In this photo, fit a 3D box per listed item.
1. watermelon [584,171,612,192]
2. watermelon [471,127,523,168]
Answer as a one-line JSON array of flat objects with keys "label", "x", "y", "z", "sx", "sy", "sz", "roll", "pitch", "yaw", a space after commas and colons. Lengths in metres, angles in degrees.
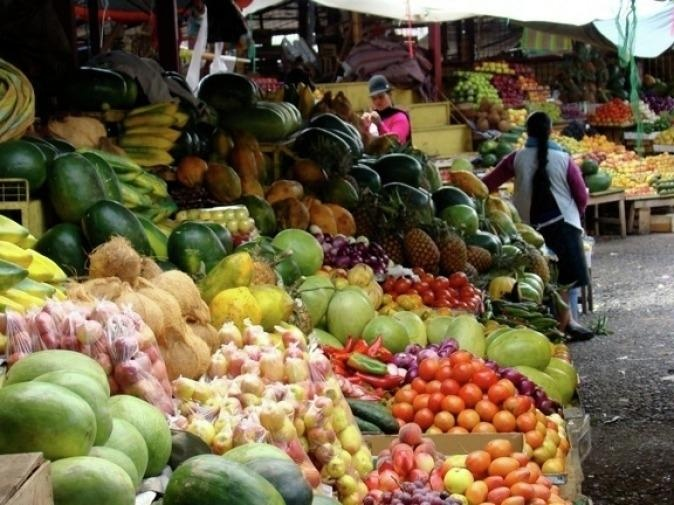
[{"label": "watermelon", "x": 5.103, "y": -1.396, "z": 11.667, "sx": 0.343, "sy": 0.308, "sz": 0.469, "roll": -6, "pitch": -11, "yaw": -3}, {"label": "watermelon", "x": 2.980, "y": -1.992, "z": 11.223, "sx": 0.758, "sy": 0.959, "sz": 0.899, "roll": -12, "pitch": 21, "yaw": -32}]
